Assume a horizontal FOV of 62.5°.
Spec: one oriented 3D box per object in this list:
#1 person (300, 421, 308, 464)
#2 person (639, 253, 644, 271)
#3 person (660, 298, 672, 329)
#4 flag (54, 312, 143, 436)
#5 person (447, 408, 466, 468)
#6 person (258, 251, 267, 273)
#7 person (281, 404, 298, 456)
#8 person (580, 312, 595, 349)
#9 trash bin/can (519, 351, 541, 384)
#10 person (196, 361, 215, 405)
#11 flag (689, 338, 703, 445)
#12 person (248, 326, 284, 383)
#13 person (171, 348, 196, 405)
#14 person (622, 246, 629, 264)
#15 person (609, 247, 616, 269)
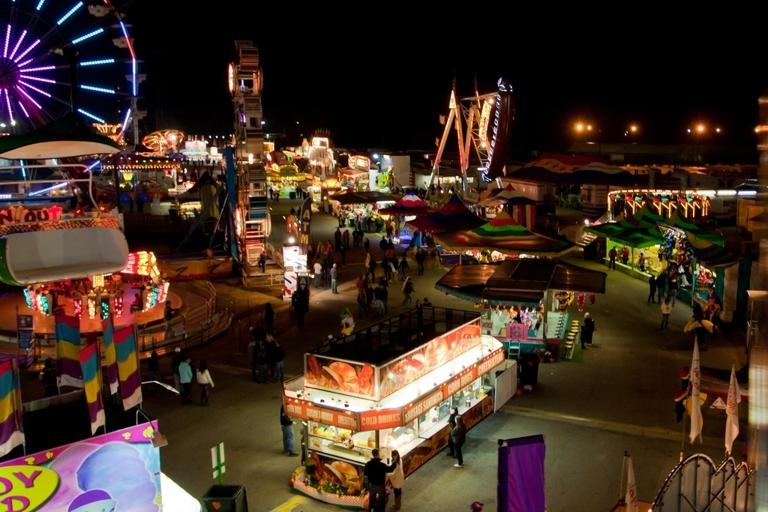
[{"bbox_3d":[-1.764,4.205,14.303,0.139,0.968,0.251,1,10,-8],"label":"person"},{"bbox_3d":[12.612,0.266,30.836,0.251,0.741,0.650,6,11,19],"label":"person"},{"bbox_3d":[10.466,2.071,23.378,0.269,1.086,1.237,7,12,24],"label":"person"},{"bbox_3d":[-5.164,2.174,12.596,1.908,2.120,1.925,-2,3,-37],"label":"flag"},{"bbox_3d":[1.749,4.243,14.954,0.372,1.176,0.738,3,11,7],"label":"person"},{"bbox_3d":[-5.881,0.268,30.840,0.356,0.938,0.754,-2,11,-21],"label":"person"},{"bbox_3d":[-2.278,4.213,15.276,0.364,1.158,0.547,1,11,-8],"label":"person"},{"bbox_3d":[6.942,2.518,21.519,0.422,1.041,0.774,5,11,18],"label":"person"},{"bbox_3d":[4.220,3.276,18.397,0.523,0.911,0.506,4,11,10],"label":"trash bin/can"},{"bbox_3d":[-5.072,3.438,18.105,0.446,1.287,1.398,-1,11,-15],"label":"person"},{"bbox_3d":[6.155,2.663,12.615,0.428,2.208,0.222,-11,9,-39],"label":"flag"},{"bbox_3d":[-3.614,3.037,19.374,0.742,1.442,1.344,-4,12,-29],"label":"person"},{"bbox_3d":[-5.693,3.480,18.067,0.439,1.220,0.654,-4,12,-30],"label":"person"},{"bbox_3d":[12.210,-0.010,31.895,0.318,0.761,0.277,6,11,20],"label":"person"},{"bbox_3d":[11.701,0.092,32.272,0.377,1.056,0.745,5,11,18],"label":"person"}]
